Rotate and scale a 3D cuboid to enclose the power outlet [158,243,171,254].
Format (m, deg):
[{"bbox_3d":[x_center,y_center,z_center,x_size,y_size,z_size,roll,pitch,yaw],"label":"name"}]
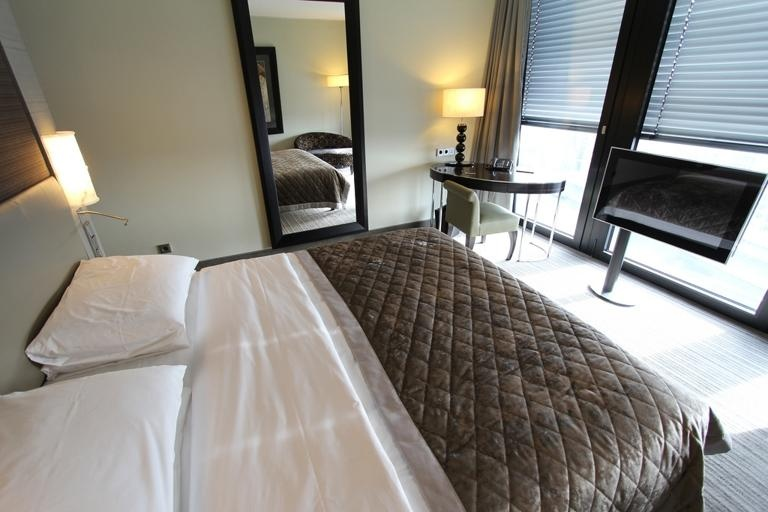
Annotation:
[{"bbox_3d":[-1.973,-0.066,3.921,0.090,0.084,0.083,-2,66,-1],"label":"power outlet"}]

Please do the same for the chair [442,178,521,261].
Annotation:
[{"bbox_3d":[0.926,-0.469,4.310,0.703,0.881,0.623,-10,31,-14],"label":"chair"}]

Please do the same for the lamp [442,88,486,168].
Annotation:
[{"bbox_3d":[0.828,-1.403,4.685,0.439,0.763,0.481,4,29,6],"label":"lamp"}]

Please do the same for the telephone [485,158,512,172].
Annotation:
[{"bbox_3d":[1.178,-0.917,4.405,0.187,0.069,0.186,8,38,24],"label":"telephone"}]

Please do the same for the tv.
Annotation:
[{"bbox_3d":[2.258,-0.386,3.258,0.105,0.652,0.942,-15,32,-38],"label":"tv"}]

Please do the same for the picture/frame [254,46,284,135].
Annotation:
[{"bbox_3d":[-1.018,-1.481,3.941,0.196,0.735,0.151,-13,33,-24],"label":"picture/frame"}]
